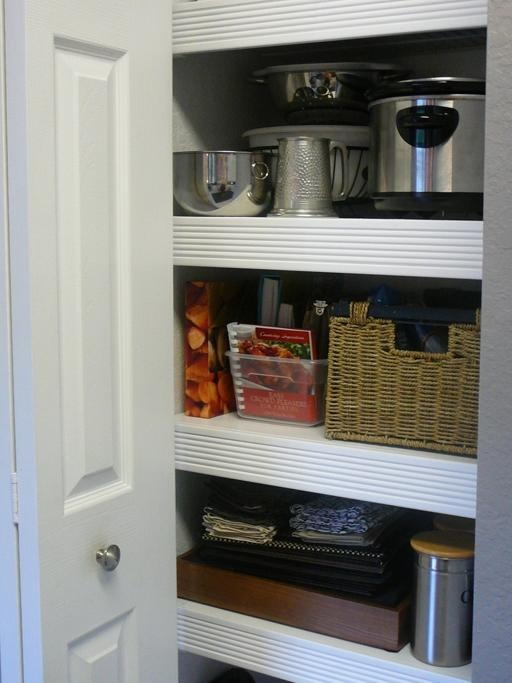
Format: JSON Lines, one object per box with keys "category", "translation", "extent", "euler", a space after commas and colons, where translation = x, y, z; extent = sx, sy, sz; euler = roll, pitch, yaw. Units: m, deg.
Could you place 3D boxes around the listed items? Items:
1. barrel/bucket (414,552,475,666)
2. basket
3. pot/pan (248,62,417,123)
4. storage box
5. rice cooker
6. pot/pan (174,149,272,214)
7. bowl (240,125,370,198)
{"category": "barrel/bucket", "translation": [0.250, 0.356, 0.896], "extent": [0.083, 0.131, 0.110], "euler": [1, 7, 24]}
{"category": "basket", "translation": [0.233, 0.029, 0.973], "extent": [0.248, 0.179, 0.192], "euler": [5, 15, 21]}
{"category": "pot/pan", "translation": [0.106, -0.392, 1.006], "extent": [0.193, 0.061, 0.134], "euler": [8, 18, 31]}
{"category": "storage box", "translation": [0.033, 0.074, 1.053], "extent": [0.141, 0.086, 0.106], "euler": [4, 5, 26]}
{"category": "rice cooker", "translation": [0.217, -0.260, 0.899], "extent": [0.175, 0.153, 0.183], "euler": [0, 10, 5]}
{"category": "pot/pan", "translation": [-0.050, -0.238, 0.979], "extent": [0.119, 0.098, 0.155], "euler": [7, 17, 32]}
{"category": "bowl", "translation": [0.112, -0.311, 1.114], "extent": [0.191, 0.124, 0.216], "euler": [9, 23, 26]}
